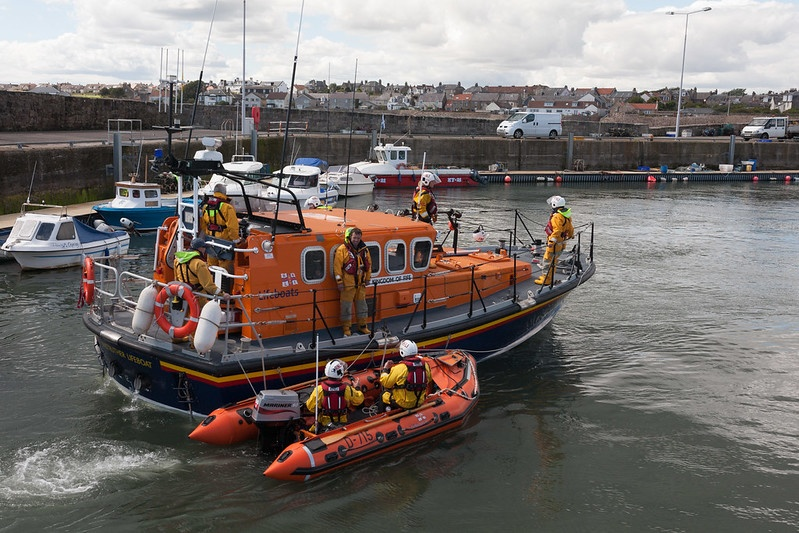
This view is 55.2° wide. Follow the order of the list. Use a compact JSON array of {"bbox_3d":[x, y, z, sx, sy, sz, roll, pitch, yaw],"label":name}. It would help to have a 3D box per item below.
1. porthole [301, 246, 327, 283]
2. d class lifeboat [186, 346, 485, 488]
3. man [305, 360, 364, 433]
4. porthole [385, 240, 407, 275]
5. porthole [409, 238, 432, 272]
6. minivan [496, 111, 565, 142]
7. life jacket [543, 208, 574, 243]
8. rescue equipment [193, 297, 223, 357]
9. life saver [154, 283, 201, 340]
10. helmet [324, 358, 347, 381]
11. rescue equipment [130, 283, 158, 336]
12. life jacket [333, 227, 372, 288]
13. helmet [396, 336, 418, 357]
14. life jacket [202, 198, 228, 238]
[{"bbox_3d":[-1.514,-0.074,13.387,0.675,0.774,0.114,-5,10,-37],"label":"porthole"},{"bbox_3d":[-0.706,2.492,12.768,4.439,1.113,2.034,-9,18,-27],"label":"d class lifeboat"},{"bbox_3d":[-1.086,2.382,12.609,1.021,1.517,0.709,2,5,-4],"label":"man"},{"bbox_3d":[-0.086,-0.213,14.110,0.676,0.783,0.113,-6,10,-39],"label":"porthole"},{"bbox_3d":[0.392,-0.233,14.359,0.452,0.524,0.209,3,5,-32],"label":"porthole"},{"bbox_3d":[8.478,-9.250,50.106,4.424,1.360,1.892,-3,9,-22],"label":"minivan"},{"bbox_3d":[3.342,-0.830,16.236,0.486,0.778,0.941,8,13,28],"label":"life jacket"},{"bbox_3d":[-3.115,0.981,12.447,0.466,0.917,0.356,-4,9,-14],"label":"rescue equipment"},{"bbox_3d":[-3.573,0.694,12.467,0.898,0.861,0.268,-1,2,35],"label":"life saver"},{"bbox_3d":[-1.041,1.670,12.404,0.318,0.401,0.456,-3,8,-7],"label":"helmet"},{"bbox_3d":[-4.243,0.721,12.764,0.455,0.847,0.263,-2,9,-1],"label":"rescue equipment"},{"bbox_3d":[-0.832,-0.161,13.358,0.647,1.069,0.261,-3,9,-7],"label":"life jacket"},{"bbox_3d":[0.146,1.341,12.886,0.286,0.254,0.334,-2,13,-24],"label":"helmet"},{"bbox_3d":[-3.212,-0.852,13.301,0.475,0.579,0.415,0,-3,21],"label":"life jacket"}]
